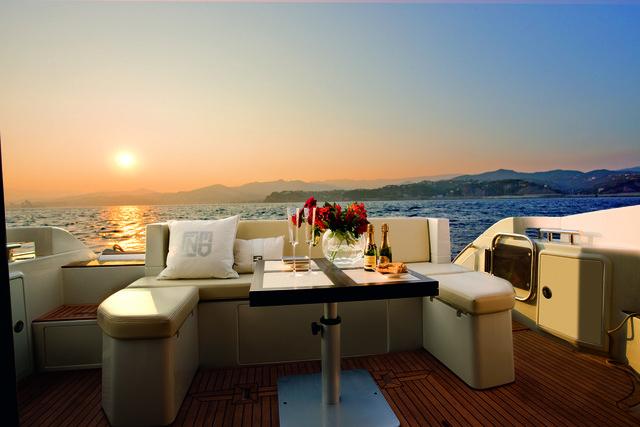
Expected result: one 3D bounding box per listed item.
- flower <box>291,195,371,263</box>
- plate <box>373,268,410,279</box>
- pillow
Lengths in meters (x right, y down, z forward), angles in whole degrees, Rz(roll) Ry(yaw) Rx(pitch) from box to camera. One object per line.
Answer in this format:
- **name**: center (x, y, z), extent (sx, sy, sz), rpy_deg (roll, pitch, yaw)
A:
- **flower**: center (0.127, 0.120, 3.449), extent (0.622, 0.525, 0.656), rpy_deg (-4, 4, 13)
- **plate**: center (0.602, 0.496, 3.156), extent (0.281, 0.077, 0.175), rpy_deg (-4, 3, 8)
- **pillow**: center (-1.117, 0.440, 4.039), extent (1.173, 0.701, 0.669), rpy_deg (5, 8, -12)
